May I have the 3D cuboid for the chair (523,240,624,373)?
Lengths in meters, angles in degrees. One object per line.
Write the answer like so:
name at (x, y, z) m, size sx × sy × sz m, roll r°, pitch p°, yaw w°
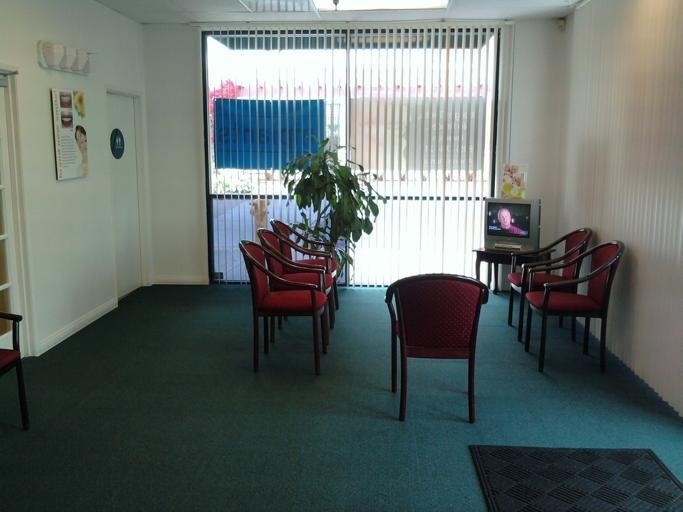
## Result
chair at (2.287, 0.480, 5.382) m, size 0.927 × 1.593 × 1.078 m, roll 0°, pitch 4°, yaw 1°

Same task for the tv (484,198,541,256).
tv at (2.121, -0.390, 6.593) m, size 0.867 × 0.961 × 0.529 m, roll 1°, pitch 4°, yaw 27°

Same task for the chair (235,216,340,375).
chair at (-0.461, 0.363, 5.356) m, size 0.980 × 1.579 × 1.128 m, roll 0°, pitch 5°, yaw 5°

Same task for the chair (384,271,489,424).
chair at (0.702, 0.594, 4.290) m, size 0.911 × 1.489 × 0.982 m, roll 0°, pitch 14°, yaw 3°

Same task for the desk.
desk at (1.987, 0.044, 6.447) m, size 0.780 × 0.687 × 0.673 m, roll 1°, pitch 3°, yaw 19°
